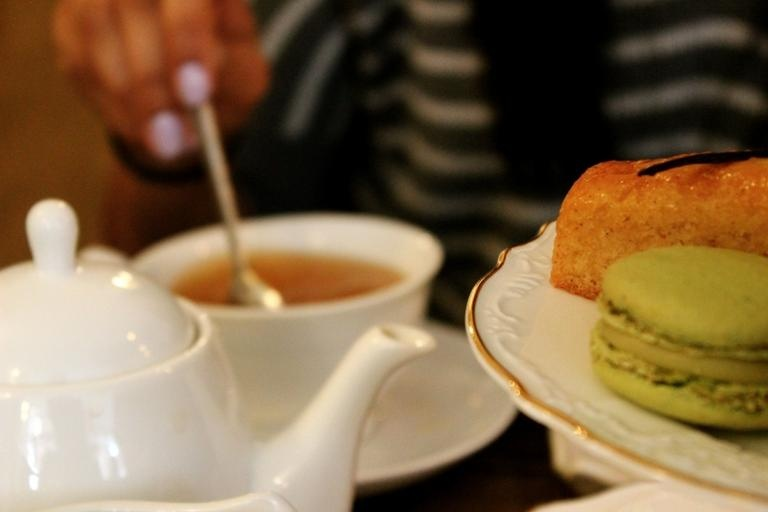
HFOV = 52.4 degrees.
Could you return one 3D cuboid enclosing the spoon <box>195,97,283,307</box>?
[{"bbox_3d":[-0.177,-0.067,0.927,0.051,0.288,0.045,-20,8,-33],"label":"spoon"}]
